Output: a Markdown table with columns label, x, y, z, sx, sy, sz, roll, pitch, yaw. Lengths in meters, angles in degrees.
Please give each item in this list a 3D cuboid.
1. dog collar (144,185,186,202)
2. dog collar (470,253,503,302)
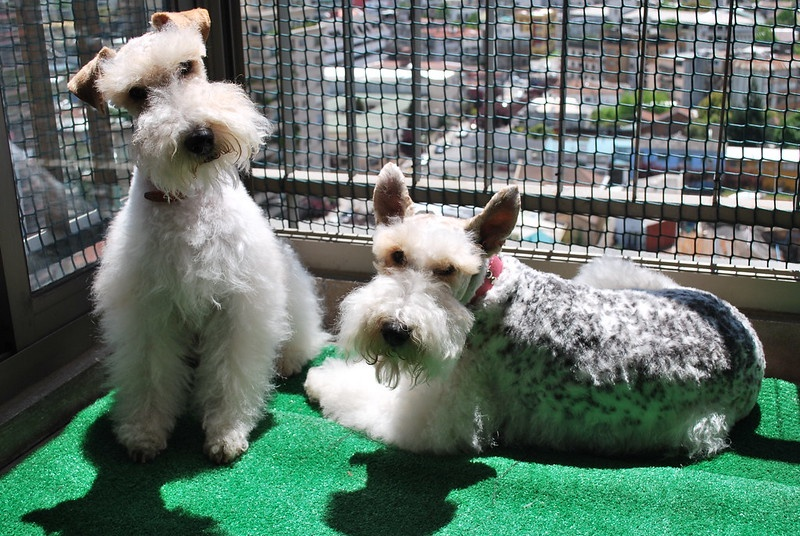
| label | x | y | z | sx | sy | sz | roll | pitch | yaw |
| --- | --- | --- | --- | --- | --- | --- | --- | --- | --- |
| dog collar | -0.967 | -0.289 | 3.146 | 0.163 | 0.057 | 0.118 | 0 | 16 | -8 |
| dog collar | 0.361 | 0.046 | 3.200 | 0.066 | 0.181 | 0.135 | 22 | 19 | -35 |
